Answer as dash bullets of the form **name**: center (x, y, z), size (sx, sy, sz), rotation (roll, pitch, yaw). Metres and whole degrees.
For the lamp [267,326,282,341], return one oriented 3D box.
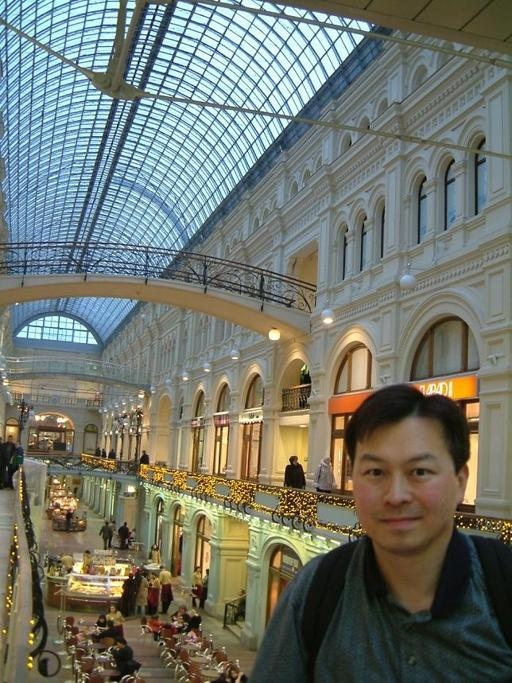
- **lamp**: center (0.663, -0.239, 20.495), size (0.593, 0.484, 0.874), rotation (0, 20, -4)

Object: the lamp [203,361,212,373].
- **lamp**: center (-2.845, 1.497, 31.703), size (0.637, 0.610, 0.638), rotation (-5, -5, -9)

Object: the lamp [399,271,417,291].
- **lamp**: center (3.963, -1.621, 14.402), size (0.347, 0.421, 0.505), rotation (-1, -11, 22)
